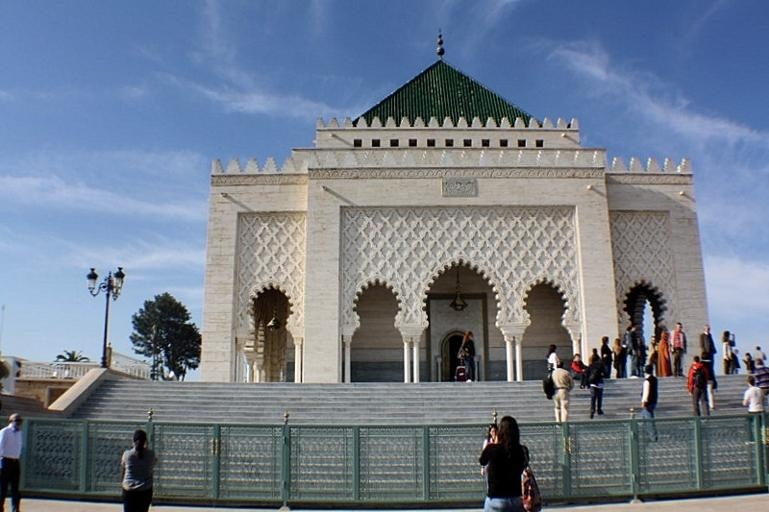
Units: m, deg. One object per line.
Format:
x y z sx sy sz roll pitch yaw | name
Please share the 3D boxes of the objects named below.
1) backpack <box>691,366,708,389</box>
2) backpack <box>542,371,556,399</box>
6.225 2.419 18.422 0.349 0.512 0.296 -5 -13 19 | backpack
3.185 2.503 17.979 0.132 0.545 0.396 -1 -14 16 | backpack
